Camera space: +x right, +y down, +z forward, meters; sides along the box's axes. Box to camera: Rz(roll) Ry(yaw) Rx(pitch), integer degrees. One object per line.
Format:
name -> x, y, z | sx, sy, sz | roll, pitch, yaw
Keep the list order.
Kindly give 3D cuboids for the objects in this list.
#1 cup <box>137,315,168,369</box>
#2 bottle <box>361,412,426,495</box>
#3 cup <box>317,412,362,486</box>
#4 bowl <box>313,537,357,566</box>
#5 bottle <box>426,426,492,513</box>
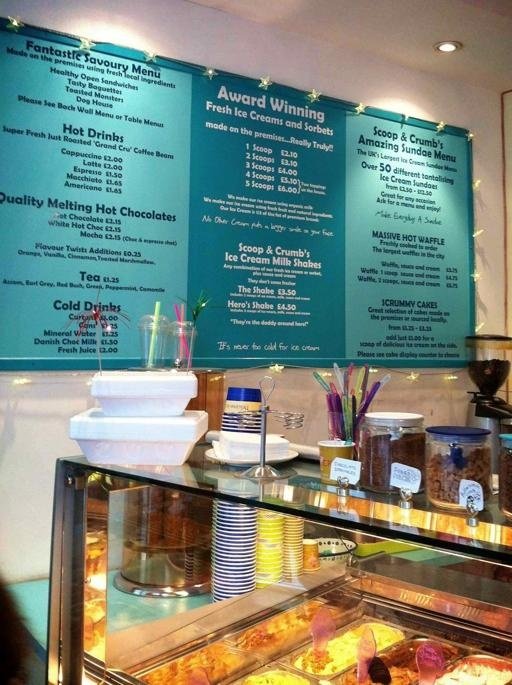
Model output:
cup -> -0.247, -0.002, 1.304 | 0.070, 0.128, 0.112 | -1, 2, -12
bottle -> 0.233, 0.188, 0.916 | 0.110, 0.123, 0.110 | 0, 2, 13
cup -> 0.160, 0.213, 1.001 | 0.073, 0.101, 0.081 | -1, -2, 16
bowl -> 0.119, 0.313, 0.813 | 0.061, 0.026, 0.060 | -2, -3, 0
bottle -> 0.294, 0.183, 0.791 | 0.106, 0.114, 0.109 | 0, -3, 10
